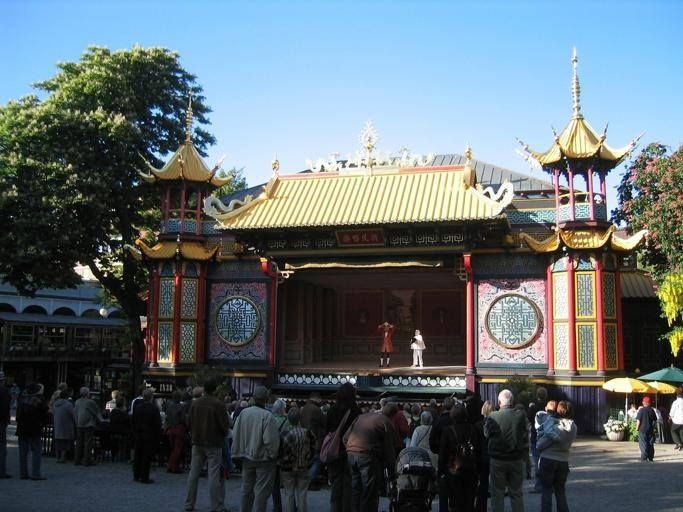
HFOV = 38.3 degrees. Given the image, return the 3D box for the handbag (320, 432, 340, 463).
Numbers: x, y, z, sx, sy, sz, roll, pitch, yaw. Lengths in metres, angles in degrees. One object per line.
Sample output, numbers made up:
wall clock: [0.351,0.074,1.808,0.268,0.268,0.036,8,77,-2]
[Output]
handbag: [-0.247,4.395,22.512,0.518,0.674,0.205,-6,-13,24]

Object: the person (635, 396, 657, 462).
person: [8.891,5.071,28.745,0.532,1.887,1.186,-4,-12,17]
